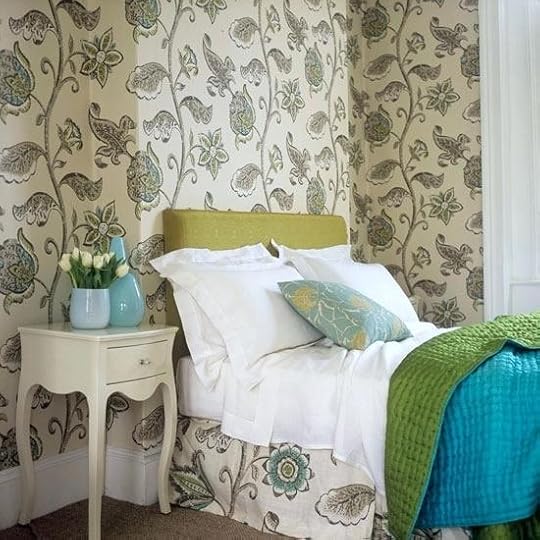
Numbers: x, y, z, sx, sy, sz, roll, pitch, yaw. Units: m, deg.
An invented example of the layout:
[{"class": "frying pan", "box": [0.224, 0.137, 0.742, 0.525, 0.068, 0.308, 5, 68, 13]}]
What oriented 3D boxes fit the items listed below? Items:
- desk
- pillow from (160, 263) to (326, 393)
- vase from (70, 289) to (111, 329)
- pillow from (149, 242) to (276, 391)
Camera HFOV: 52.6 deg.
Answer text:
[{"class": "desk", "box": [-0.653, 0.587, 1.937, 0.596, 0.750, 0.355, -2, 4, -1]}, {"class": "pillow", "box": [-0.075, 0.198, 2.222, 0.585, 0.433, 0.480, -4, 5, -35]}, {"class": "vase", "box": [-0.660, 0.138, 1.986, 0.110, 0.152, 0.132, 1, -4, -7]}, {"class": "pillow", "box": [-0.284, 0.159, 2.234, 0.115, 0.589, 0.441, -30, -28, 36]}]
